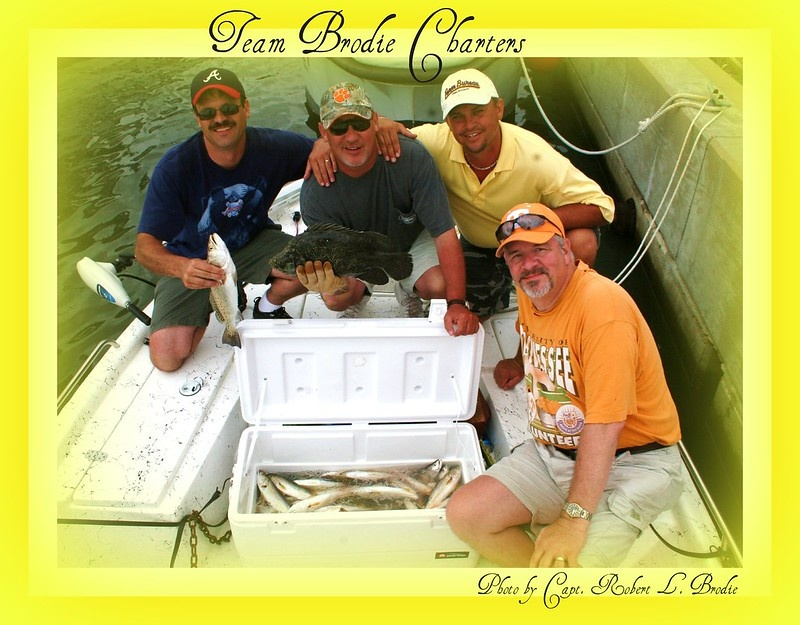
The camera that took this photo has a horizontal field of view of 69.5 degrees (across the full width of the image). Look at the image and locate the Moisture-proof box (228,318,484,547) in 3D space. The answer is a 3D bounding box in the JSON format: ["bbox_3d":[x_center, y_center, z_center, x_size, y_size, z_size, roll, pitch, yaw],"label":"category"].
[{"bbox_3d":[-0.286,0.656,3.804,1.631,1.278,1.290,-2,25,-11],"label":"Moisture-proof box"}]

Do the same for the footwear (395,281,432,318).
[{"bbox_3d":[0.082,-0.083,4.497,0.216,0.292,0.101,4,17,39],"label":"footwear"}]

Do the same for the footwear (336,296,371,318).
[{"bbox_3d":[-0.363,-0.042,4.551,0.099,0.120,0.413,-1,13,20],"label":"footwear"}]

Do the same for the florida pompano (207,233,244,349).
[{"bbox_3d":[-1.082,-0.106,3.561,0.278,0.761,0.168,-6,5,0],"label":"florida pompano"}]

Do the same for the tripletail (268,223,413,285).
[{"bbox_3d":[-0.377,-0.378,3.892,0.952,0.424,0.190,4,28,-7],"label":"tripletail"}]
